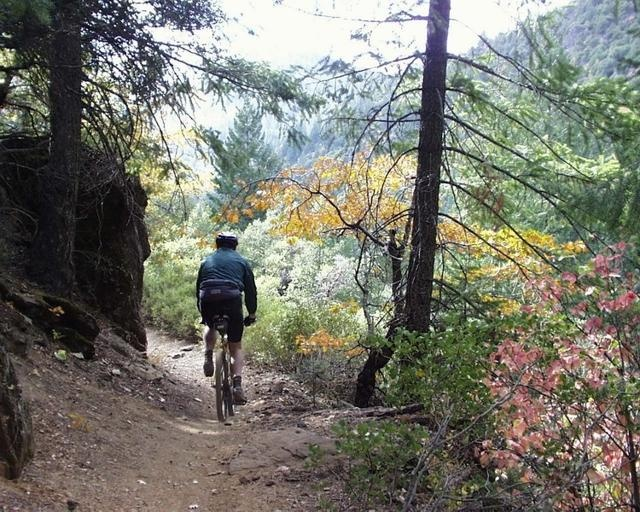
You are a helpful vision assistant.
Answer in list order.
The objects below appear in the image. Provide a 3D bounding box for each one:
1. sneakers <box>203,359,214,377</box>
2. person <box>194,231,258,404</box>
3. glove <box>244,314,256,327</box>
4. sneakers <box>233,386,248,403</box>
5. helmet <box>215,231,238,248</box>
[{"bbox_3d":[-1.608,1.629,9.165,0.131,0.268,0.233,1,3,-6],"label":"sneakers"},{"bbox_3d":[-1.379,0.926,9.247,0.839,2.454,0.908,1,3,-3],"label":"person"},{"bbox_3d":[-1.043,0.975,9.432,0.163,0.170,0.356,-44,6,-7],"label":"glove"},{"bbox_3d":[-1.146,1.986,8.987,0.176,0.264,0.250,0,3,-8],"label":"sneakers"},{"bbox_3d":[-1.418,-0.225,9.631,0.217,0.267,0.267,4,8,-3],"label":"helmet"}]
